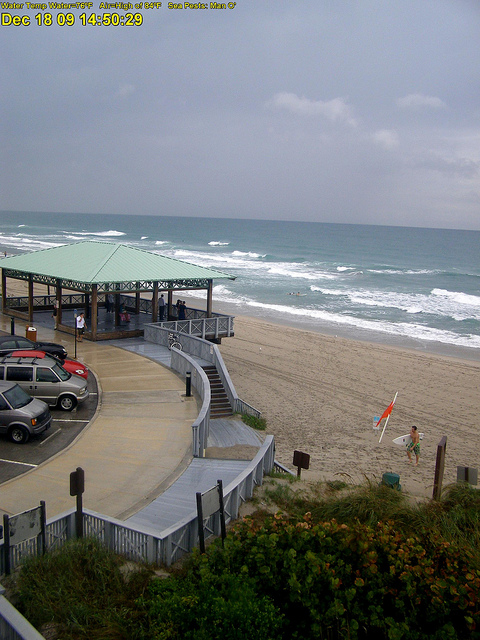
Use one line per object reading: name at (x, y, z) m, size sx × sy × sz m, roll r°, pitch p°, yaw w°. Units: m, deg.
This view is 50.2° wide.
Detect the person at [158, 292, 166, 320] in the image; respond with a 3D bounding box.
person at (-4.444, -0.692, 28.902) m, size 0.399 × 1.342 × 1.914 m, roll 3°, pitch 10°, yaw -9°

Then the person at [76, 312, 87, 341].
person at (-7.366, 0.301, 23.720) m, size 0.308 × 1.169 × 1.758 m, roll 2°, pitch 10°, yaw -16°

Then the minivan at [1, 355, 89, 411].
minivan at (-5.611, 1.834, 15.180) m, size 2.558 × 1.152 × 1.289 m, roll 3°, pitch 19°, yaw -2°

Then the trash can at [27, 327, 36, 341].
trash can at (-9.078, 0.654, 22.233) m, size 0.313 × 0.513 × 0.606 m, roll -1°, pitch 11°, yaw -27°

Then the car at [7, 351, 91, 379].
car at (-6.134, 1.366, 16.477) m, size 2.018 × 0.648 × 0.951 m, roll 2°, pitch 14°, yaw -4°

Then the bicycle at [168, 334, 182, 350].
bicycle at (-2.843, 1.030, 22.482) m, size 0.244 × 0.610 × 0.465 m, roll 3°, pitch 6°, yaw -44°

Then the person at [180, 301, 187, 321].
person at (-3.056, -0.486, 27.772) m, size 0.374 × 0.906 × 1.391 m, roll 4°, pitch 10°, yaw -5°
